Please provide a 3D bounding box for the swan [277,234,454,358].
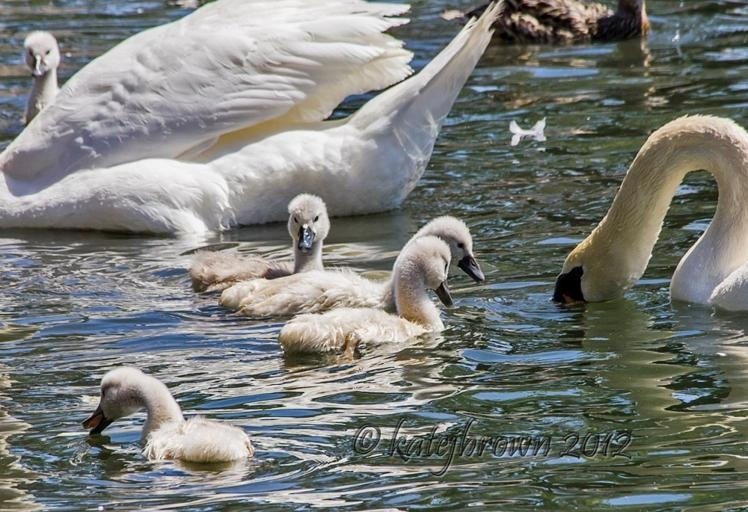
[{"bbox_3d":[0.031,0.305,8.541,0.576,0.734,1.413,16,22,39],"label":"swan"}]
